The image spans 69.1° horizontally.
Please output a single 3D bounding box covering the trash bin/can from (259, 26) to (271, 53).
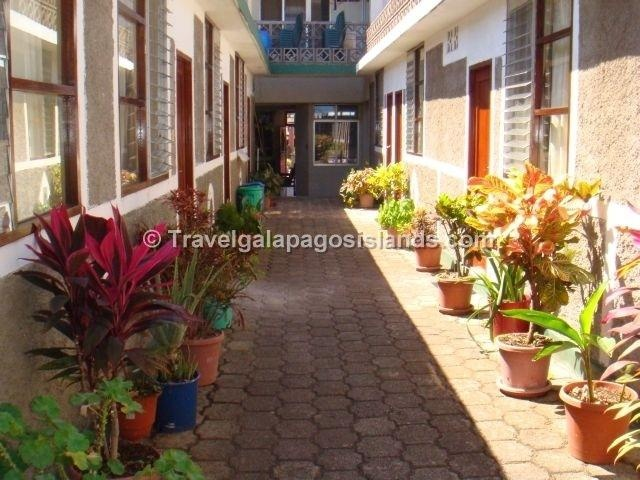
[{"bbox_3d":[-1.877,-6.842,15.753,0.394,0.938,1.193,-1,12,-7],"label":"trash bin/can"}]

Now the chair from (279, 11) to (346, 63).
[{"bbox_3d":[-0.232,-6.794,15.586,2.088,1.413,1.290,1,12,6],"label":"chair"}]

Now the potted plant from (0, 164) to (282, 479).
[{"bbox_3d":[-1.045,0.472,2.974,1.398,1.627,1.413,2,16,-13],"label":"potted plant"}]
